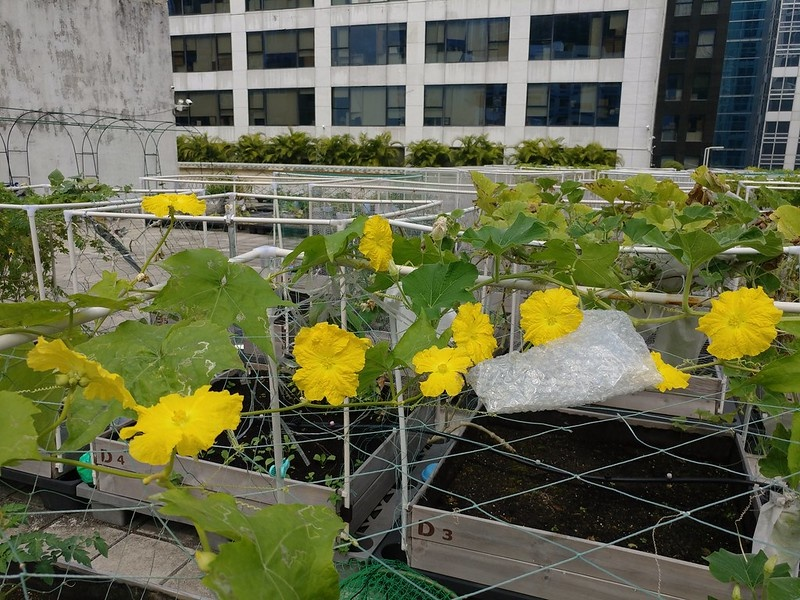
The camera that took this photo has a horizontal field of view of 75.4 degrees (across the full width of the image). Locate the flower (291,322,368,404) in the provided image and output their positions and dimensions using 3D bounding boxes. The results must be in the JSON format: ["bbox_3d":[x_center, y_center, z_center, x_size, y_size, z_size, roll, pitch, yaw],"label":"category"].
[{"bbox_3d":[-0.139,0.130,1.054,0.156,0.176,0.099,-1,10,-4],"label":"flower"}]

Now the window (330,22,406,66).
[{"bbox_3d":[-1.294,-10.678,21.009,3.795,1.970,0.064,15,28,28],"label":"window"}]

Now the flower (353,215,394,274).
[{"bbox_3d":[-0.067,-0.153,1.381,0.086,0.150,0.162,-1,10,-5],"label":"flower"}]

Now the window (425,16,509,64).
[{"bbox_3d":[2.578,-10.140,20.089,3.337,1.540,0.127,9,26,21],"label":"window"}]

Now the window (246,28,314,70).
[{"bbox_3d":[-5.099,-10.851,22.138,3.167,1.647,0.220,1,7,9],"label":"window"}]

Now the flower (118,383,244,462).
[{"bbox_3d":[-0.378,0.215,0.893,0.180,0.062,0.193,-8,11,-2],"label":"flower"}]

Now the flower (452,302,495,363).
[{"bbox_3d":[0.170,0.076,1.163,0.115,0.139,0.086,-3,11,-16],"label":"flower"}]

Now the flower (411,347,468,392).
[{"bbox_3d":[0.084,0.144,1.093,0.146,0.040,0.136,-16,14,-27],"label":"flower"}]

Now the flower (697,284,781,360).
[{"bbox_3d":[0.705,0.053,1.080,0.138,0.170,0.078,8,13,37],"label":"flower"}]

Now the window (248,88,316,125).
[{"bbox_3d":[-5.144,-8.449,22.454,0.141,1.722,3.477,27,34,37],"label":"window"}]

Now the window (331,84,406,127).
[{"bbox_3d":[-1.340,-8.114,21.396,3.073,1.575,0.047,2,15,8],"label":"window"}]
